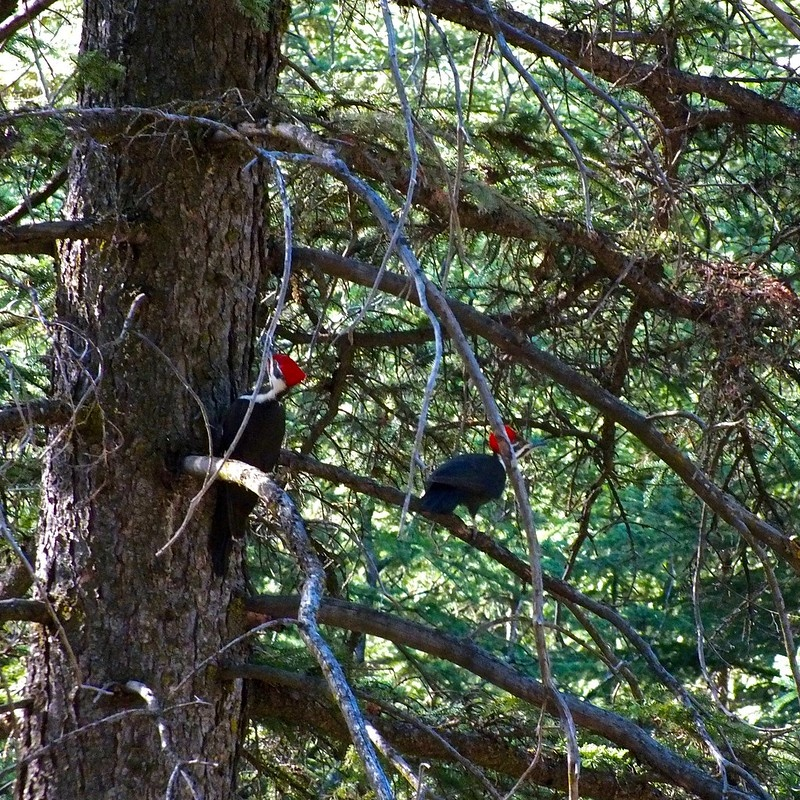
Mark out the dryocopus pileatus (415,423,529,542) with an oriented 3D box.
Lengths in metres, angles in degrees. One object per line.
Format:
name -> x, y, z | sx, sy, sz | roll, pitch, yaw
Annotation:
dryocopus pileatus -> 0.382, 0.386, 8.590 | 0.719, 0.680, 0.269 | 20, -28, -34

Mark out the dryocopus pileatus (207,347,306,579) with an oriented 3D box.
dryocopus pileatus -> -0.721, 0.255, 7.239 | 0.322, 1.239, 0.779 | 16, -70, -1
